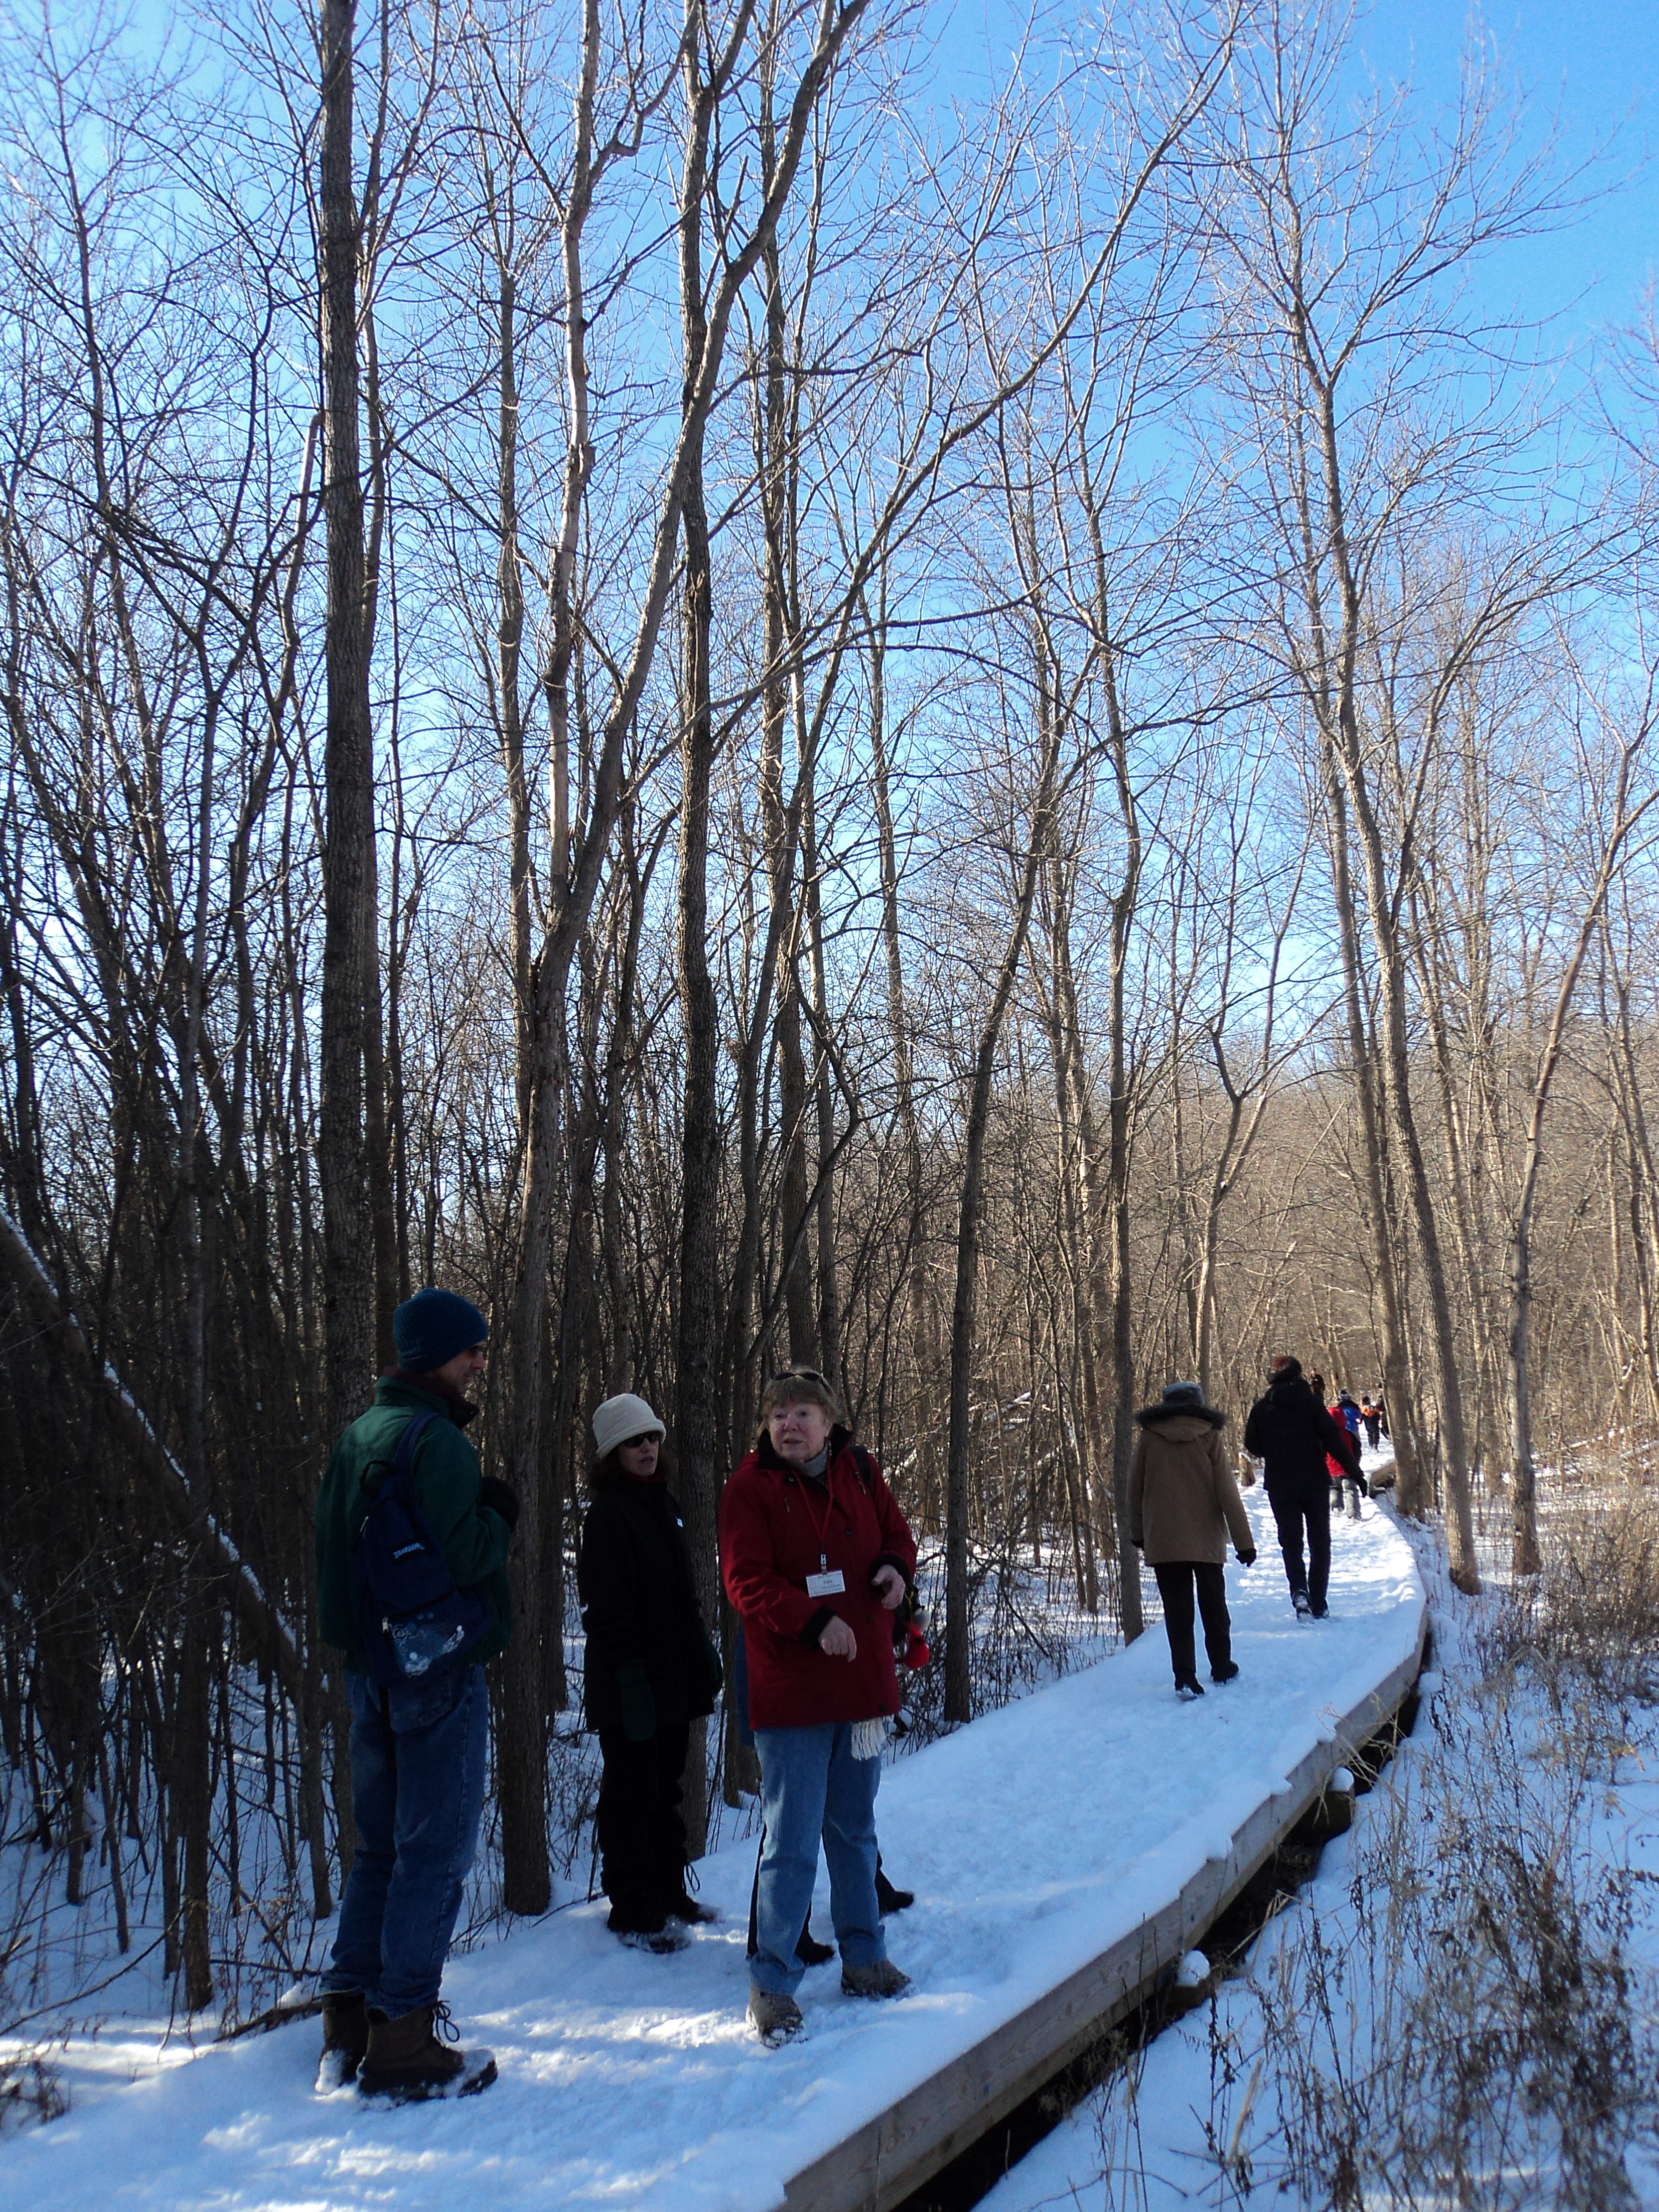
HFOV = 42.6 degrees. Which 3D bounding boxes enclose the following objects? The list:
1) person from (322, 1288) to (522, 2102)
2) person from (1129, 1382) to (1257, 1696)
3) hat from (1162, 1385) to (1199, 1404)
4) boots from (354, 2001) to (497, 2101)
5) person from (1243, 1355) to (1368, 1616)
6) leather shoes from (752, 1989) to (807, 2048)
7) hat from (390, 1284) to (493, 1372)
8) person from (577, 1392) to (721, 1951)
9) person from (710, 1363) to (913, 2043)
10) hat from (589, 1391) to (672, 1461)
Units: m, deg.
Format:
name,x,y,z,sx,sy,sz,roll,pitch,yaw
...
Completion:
name,x,y,z,sx,sy,sz,roll,pitch,yaw
person,-0.964,1.374,4.952,0.463,1.634,0.462,3,1,-17
person,1.606,1.913,9.450,0.381,1.561,0.465,-3,13,13
hat,1.595,1.319,9.585,0.085,0.098,0.108,-1,-4,-4
boots,-0.913,2.186,4.869,0.330,0.344,0.161,1,-17,-17
person,2.559,2.156,11.711,0.512,1.466,0.815,4,1,39
leather shoes,-0.125,2.201,5.071,0.082,0.205,0.090,9,-21,-23
hat,-0.921,0.546,5.106,0.152,0.205,0.189,-8,-8,29
person,-0.512,1.597,5.976,0.417,1.400,0.371,3,1,3
person,-0.028,1.484,5.360,0.541,1.543,0.417,3,1,-42
hat,-0.576,0.917,6.100,0.139,0.171,0.177,-4,-7,9
